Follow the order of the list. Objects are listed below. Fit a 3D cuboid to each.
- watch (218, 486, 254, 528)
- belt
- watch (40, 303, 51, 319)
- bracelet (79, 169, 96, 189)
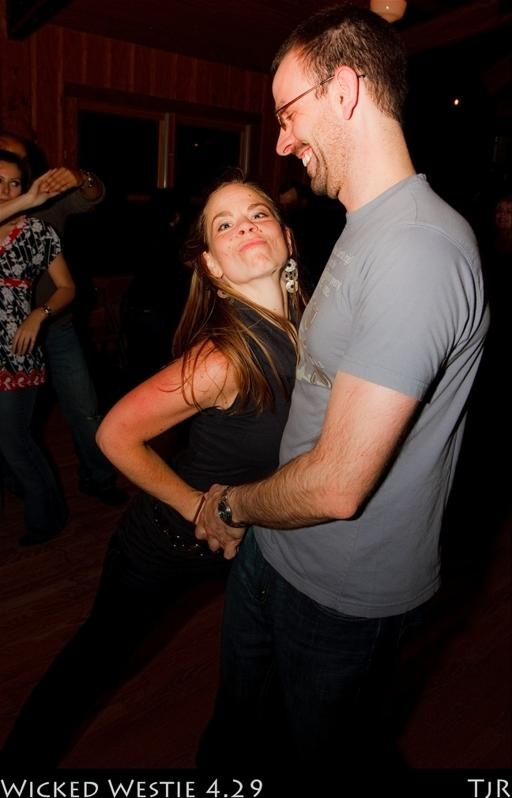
[{"bbox_3d":[-0.040,0.226,1.258,0.070,0.049,0.081,25,33,-26],"label":"watch"},{"bbox_3d":[-0.189,0.296,1.493,0.072,0.118,0.158,-48,39,-8],"label":"belt"},{"bbox_3d":[-0.968,-0.409,2.787,0.057,0.052,0.040,36,56,0],"label":"watch"},{"bbox_3d":[-0.883,-1.169,3.191,0.074,0.066,0.098,6,8,-3],"label":"bracelet"}]
